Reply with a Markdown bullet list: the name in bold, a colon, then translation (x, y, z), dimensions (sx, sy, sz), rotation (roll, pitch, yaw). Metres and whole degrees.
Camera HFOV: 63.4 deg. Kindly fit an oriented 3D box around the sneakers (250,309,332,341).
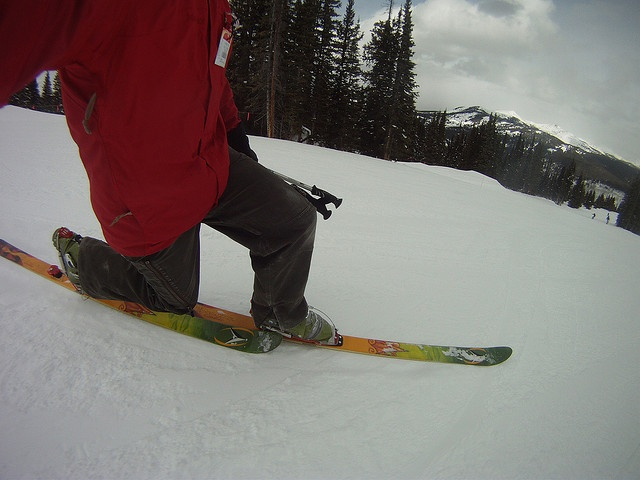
- **sneakers**: translation (-0.157, 0.668, 3.824), dimensions (0.496, 0.197, 0.237), rotation (8, 54, -12)
